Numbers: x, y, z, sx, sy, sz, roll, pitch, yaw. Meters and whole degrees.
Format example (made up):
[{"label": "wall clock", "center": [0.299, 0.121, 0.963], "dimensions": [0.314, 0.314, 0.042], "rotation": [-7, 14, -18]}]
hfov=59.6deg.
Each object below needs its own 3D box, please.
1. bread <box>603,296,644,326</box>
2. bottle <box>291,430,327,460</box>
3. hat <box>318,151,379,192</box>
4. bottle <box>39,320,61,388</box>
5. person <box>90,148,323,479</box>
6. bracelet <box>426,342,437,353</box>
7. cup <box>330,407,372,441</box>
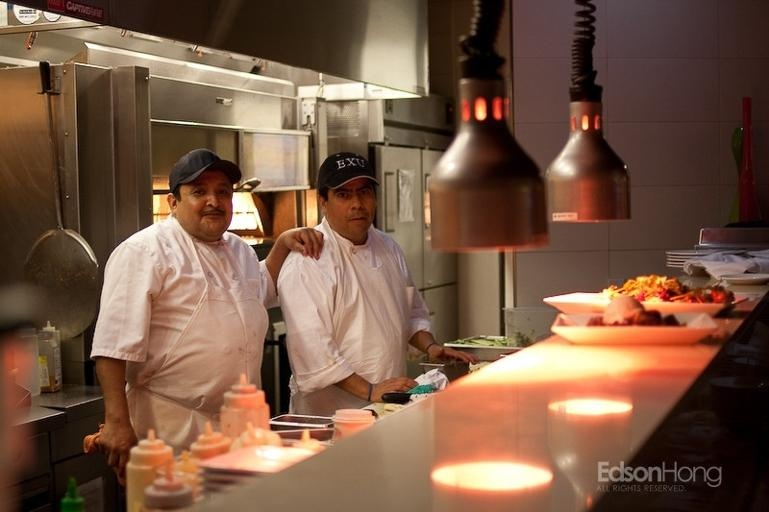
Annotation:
[{"label": "bread", "center": [0.712, 0.165, 2.012], "dimensions": [0.083, 0.057, 0.096], "rotation": [-20, -7, 3]}, {"label": "bottle", "center": [-0.163, 0.422, 1.541], "dimensions": [0.080, 0.047, 0.076], "rotation": [-1, -7, 0]}, {"label": "hat", "center": [-0.174, -0.384, 3.032], "dimensions": [0.254, 0.167, 0.340], "rotation": [-9, 2, -16]}, {"label": "bottle", "center": [-1.518, 0.467, 3.036], "dimensions": [0.074, 0.285, 0.086], "rotation": [-3, 10, 1]}, {"label": "person", "center": [-0.768, 0.154, 2.539], "dimensions": [0.341, 1.088, 0.761], "rotation": [7, 13, 44]}, {"label": "bracelet", "center": [0.204, 0.412, 3.003], "dimensions": [0.038, 0.010, 0.040], "rotation": [-29, 1, 31]}, {"label": "cup", "center": [-0.082, 0.441, 1.799], "dimensions": [0.119, 0.067, 0.115], "rotation": [0, -4, 0]}]
